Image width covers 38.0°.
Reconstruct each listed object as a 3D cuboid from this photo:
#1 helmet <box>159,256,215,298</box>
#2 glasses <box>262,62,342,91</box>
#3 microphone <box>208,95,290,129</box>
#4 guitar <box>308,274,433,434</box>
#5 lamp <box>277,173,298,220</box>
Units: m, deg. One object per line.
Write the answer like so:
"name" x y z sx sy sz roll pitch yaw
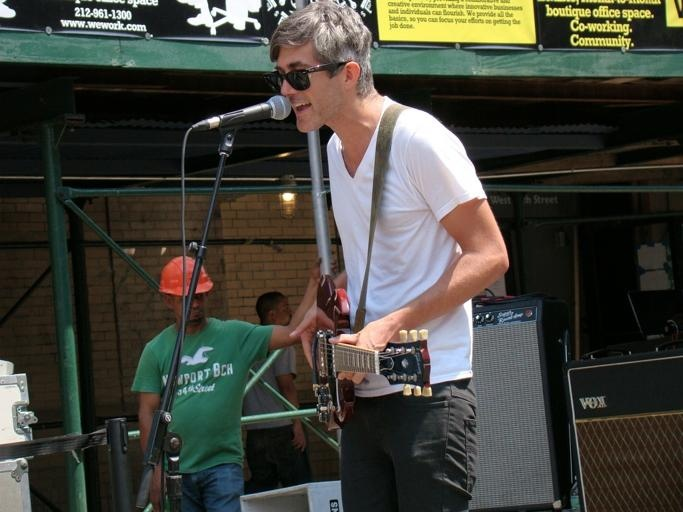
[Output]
"helmet" -1.068 0.160 6.828 0.471 0.313 0.371 -1 6 -33
"glasses" -0.196 -0.870 4.827 0.180 0.135 0.386 -9 14 -42
"microphone" -0.505 -0.753 5.292 0.507 0.164 0.154 -18 14 -20
"guitar" 0.106 0.448 4.723 0.333 0.737 0.768 1 -5 -44
"lamp" -0.644 -0.685 11.941 0.235 0.587 0.233 -5 6 -5
